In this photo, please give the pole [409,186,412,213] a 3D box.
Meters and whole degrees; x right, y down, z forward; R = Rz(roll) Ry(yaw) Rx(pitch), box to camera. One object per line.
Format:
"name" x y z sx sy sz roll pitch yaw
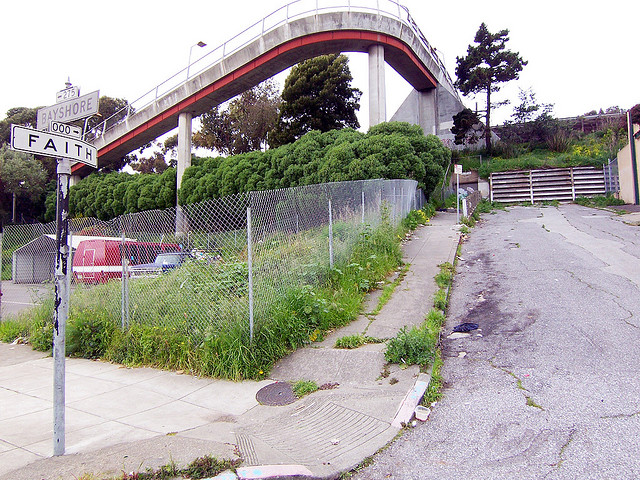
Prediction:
"pole" 3.425 -1.605 20.845 0.107 0.833 0.366 -1 13 11
